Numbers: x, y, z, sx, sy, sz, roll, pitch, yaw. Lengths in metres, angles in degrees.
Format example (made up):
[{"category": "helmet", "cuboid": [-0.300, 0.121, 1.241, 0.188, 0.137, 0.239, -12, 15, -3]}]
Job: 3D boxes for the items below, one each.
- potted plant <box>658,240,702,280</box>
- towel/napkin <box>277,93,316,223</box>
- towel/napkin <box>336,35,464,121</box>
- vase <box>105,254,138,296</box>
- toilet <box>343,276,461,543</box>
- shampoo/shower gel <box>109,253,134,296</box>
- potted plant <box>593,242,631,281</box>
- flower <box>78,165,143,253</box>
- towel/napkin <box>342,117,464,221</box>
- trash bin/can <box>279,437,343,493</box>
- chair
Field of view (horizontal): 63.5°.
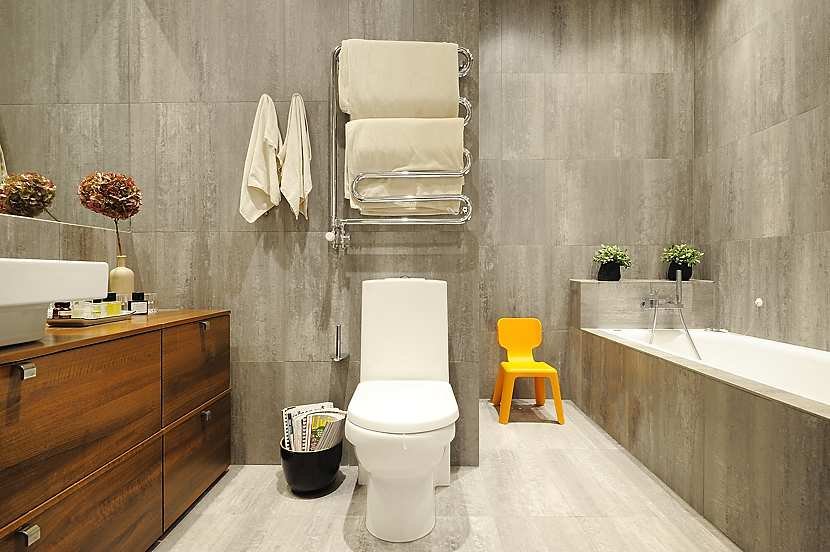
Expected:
[{"category": "potted plant", "cuboid": [2.035, -0.108, 5.166, 0.287, 0.302, 0.277, 1, -2, 9]}, {"category": "towel/napkin", "cuboid": [-0.744, -0.753, 4.206, 0.210, 0.789, 0.174, -1, 6, -10]}, {"category": "towel/napkin", "cuboid": [-0.087, -1.211, 4.166, 0.751, 0.472, 0.092, 0, 6, -1]}, {"category": "vase", "cuboid": [-1.758, -0.001, 4.023, 0.174, 0.231, 0.174, -1, -1, -36]}, {"category": "toilet", "cuboid": [-0.066, 0.750, 3.942, 0.609, 1.417, 0.732, 1, 6, 1]}, {"category": "shampoo/shower gel", "cuboid": [-1.781, -0.005, 4.059, 0.127, 0.241, 0.263, -2, 6, -25]}, {"category": "potted plant", "cuboid": [1.538, -0.108, 5.220, 0.277, 0.271, 0.287, 2, 6, 14]}, {"category": "flower", "cuboid": [-1.844, -0.383, 4.085, 0.344, 0.507, 0.328, -2, 6, -23]}, {"category": "towel/napkin", "cuboid": [-0.068, -0.678, 4.205, 0.729, 0.604, 0.167, 0, 6, -6]}, {"category": "trash bin/can", "cuboid": [-0.605, 1.122, 4.019, 0.296, 0.248, 0.341, 3, -8, -29]}, {"category": "chair", "cuboid": [0.868, 0.695, 5.070, 0.547, 0.701, 0.553, 1, 6, 7]}]
